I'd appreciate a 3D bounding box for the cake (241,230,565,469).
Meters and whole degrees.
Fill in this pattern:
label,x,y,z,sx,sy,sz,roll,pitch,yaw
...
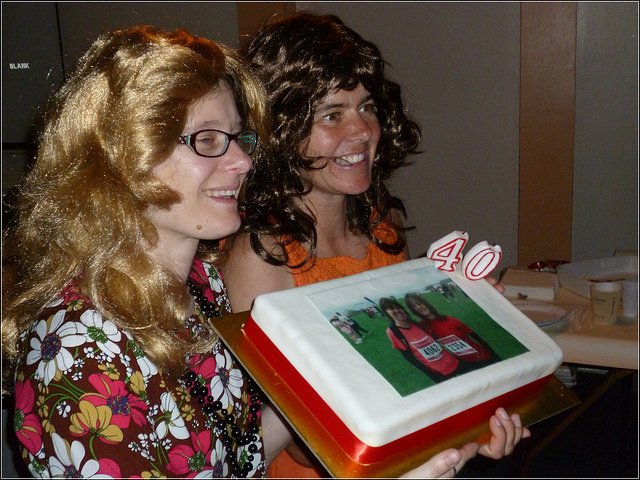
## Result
label,x,y,z,sx,sy,sz,roll,pitch,yaw
cake,0.267,0.272,1.525,0.735,0.266,0.934,-15,18,-16

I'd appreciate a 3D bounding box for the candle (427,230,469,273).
label,x,y,z,sx,sy,sz,roll,pitch,yaw
candle,0.371,0.029,1.551,0.107,0.139,0.048,5,38,-10

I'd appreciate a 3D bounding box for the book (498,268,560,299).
label,x,y,z,sx,sy,sz,roll,pitch,yaw
book,0.983,0.204,2.470,0.230,0.053,0.218,2,16,8

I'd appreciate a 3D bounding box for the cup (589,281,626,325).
label,x,y,z,sx,sy,sz,roll,pitch,yaw
cup,1.135,0.246,2.111,0.140,0.169,0.168,-1,-10,16
